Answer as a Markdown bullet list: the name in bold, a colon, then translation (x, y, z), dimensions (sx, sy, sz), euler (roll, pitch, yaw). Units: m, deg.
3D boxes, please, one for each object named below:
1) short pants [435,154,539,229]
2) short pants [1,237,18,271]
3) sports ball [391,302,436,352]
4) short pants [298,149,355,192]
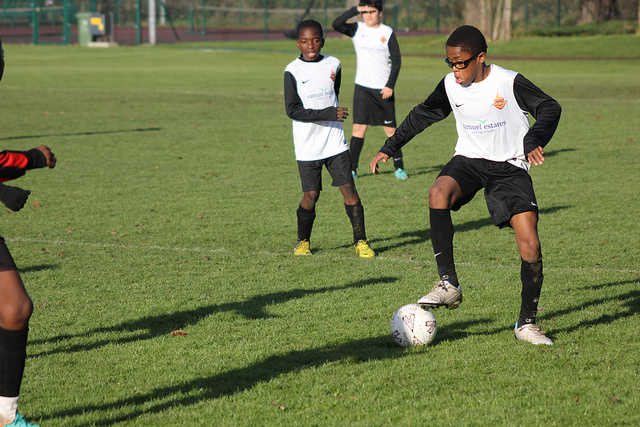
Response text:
- **short pants**: translation (1.691, -0.285, 8.511), dimensions (0.929, 0.360, 0.704), euler (16, 55, 29)
- **short pants**: translation (-2.587, 0.347, 7.325), dimensions (0.189, 0.234, 0.171), euler (-11, -14, -10)
- **sports ball**: translation (0.862, 1.101, 8.546), dimensions (0.383, 0.462, 0.382), euler (-11, -17, -3)
- **short pants**: translation (0.058, -0.516, 10.520), dimensions (0.652, 0.496, 0.167), euler (0, 13, -4)
